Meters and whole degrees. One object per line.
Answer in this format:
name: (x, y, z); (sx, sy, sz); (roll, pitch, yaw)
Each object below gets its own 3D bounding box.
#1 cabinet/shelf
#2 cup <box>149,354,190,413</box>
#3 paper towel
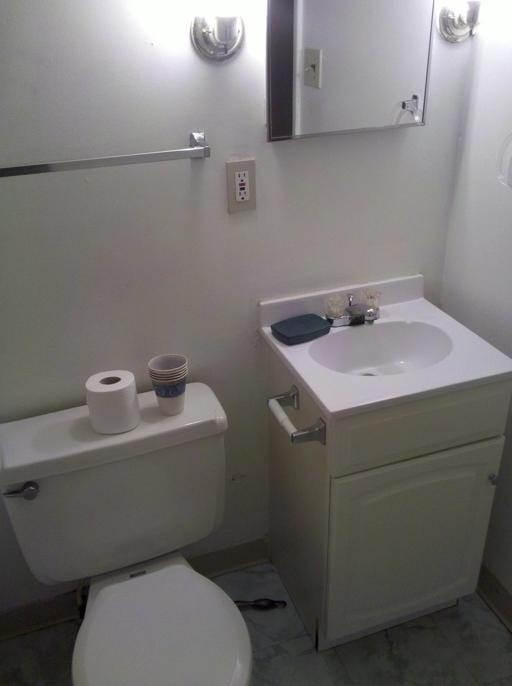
cabinet/shelf: (0.329, 0.386, 1.276); (0.450, 0.711, 0.386); (-12, 37, -15)
cup: (-0.193, 0.094, 1.250); (0.104, 0.146, 0.116); (-5, 31, -5)
paper towel: (-0.313, 0.127, 1.157); (0.100, 0.114, 0.102); (-7, 29, -10)
